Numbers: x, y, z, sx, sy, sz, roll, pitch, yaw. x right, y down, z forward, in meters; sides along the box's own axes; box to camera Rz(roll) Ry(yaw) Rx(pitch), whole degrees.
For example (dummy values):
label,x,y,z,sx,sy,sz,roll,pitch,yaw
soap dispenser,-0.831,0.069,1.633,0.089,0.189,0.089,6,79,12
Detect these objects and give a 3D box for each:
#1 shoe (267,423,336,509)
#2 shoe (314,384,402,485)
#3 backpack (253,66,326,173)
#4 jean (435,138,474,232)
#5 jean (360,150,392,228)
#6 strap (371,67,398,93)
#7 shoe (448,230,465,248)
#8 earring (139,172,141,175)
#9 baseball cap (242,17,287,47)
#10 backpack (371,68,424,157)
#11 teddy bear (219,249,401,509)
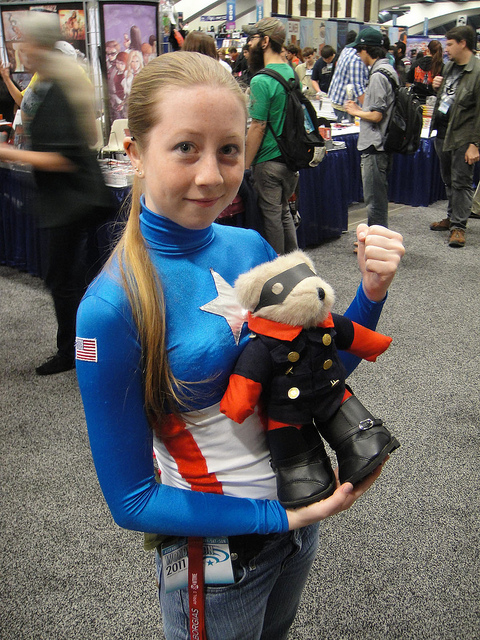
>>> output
label,x,y,z,sx,sy,sz,roll,pitch,yaw
shoe,0.072,0.167,0.621,0.051,0.057,0.129,-22,10,8
shoe,0.159,0.148,0.653,0.091,0.046,0.124,41,20,12
backpack,0.365,-1.464,3.688,0.480,0.715,0.480,-2,22,11
jean,2.198,-1.384,5.086,0.300,0.891,0.492,-3,21,-3
jean,1.198,-1.165,4.430,0.257,0.661,0.289,3,21,12
strap,1.188,-1.981,4.126,0.181,0.171,0.135,-24,34,38
shoe,2.189,-0.831,5.018,0.151,0.152,0.264,6,22,21
earring,-0.114,-0.168,0.570,0.004,0.002,0.001,17,28,41
baseball cap,0.192,-2.050,3.556,0.263,0.203,0.321,-10,22,-22
backpack,1.363,-1.804,4.318,0.413,0.673,0.473,16,27,34
teddy bear,0.077,0.070,0.631,0.226,0.269,0.191,-11,22,-22
